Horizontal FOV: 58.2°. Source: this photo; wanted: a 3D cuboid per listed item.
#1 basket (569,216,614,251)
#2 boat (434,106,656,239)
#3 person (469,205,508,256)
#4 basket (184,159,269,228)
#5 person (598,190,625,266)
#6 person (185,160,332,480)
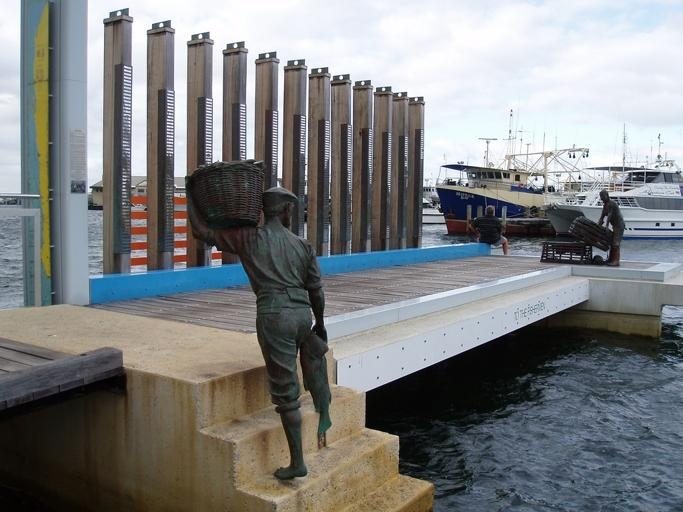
[{"bbox_3d":[5.576,-0.369,13.942,0.828,0.831,0.278,26,-18,10],"label":"basket"},{"bbox_3d":[15.499,-6.408,52.374,20.889,7.781,6.237,-5,10,-38],"label":"boat"},{"bbox_3d":[3.952,-0.604,16.260,1.047,1.377,0.830,1,5,4],"label":"person"},{"bbox_3d":[-0.782,-0.394,4.501,0.563,0.413,0.550,-3,-4,-38],"label":"basket"},{"bbox_3d":[5.882,-0.626,13.405,0.513,1.597,1.076,3,9,23],"label":"person"},{"bbox_3d":[-0.510,0.537,4.509,0.814,2.051,0.494,4,9,28],"label":"person"}]
